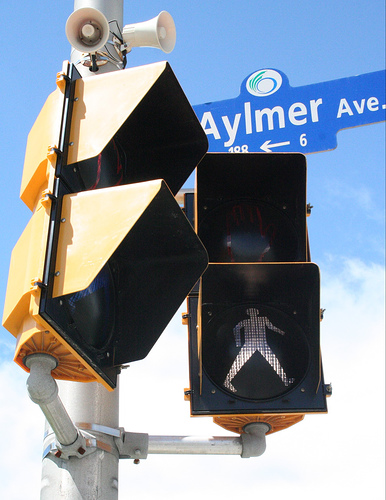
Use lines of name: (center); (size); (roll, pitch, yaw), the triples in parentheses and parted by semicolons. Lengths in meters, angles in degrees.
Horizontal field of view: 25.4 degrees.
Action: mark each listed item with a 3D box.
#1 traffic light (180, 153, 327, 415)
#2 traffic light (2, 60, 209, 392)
traffic light: (0.264, 0.184, 4.036); (0.605, 1.226, 0.575); (-2, -24, 1)
traffic light: (-0.351, -0.065, 3.458); (0.638, 0.704, 1.372); (-13, 53, 21)
